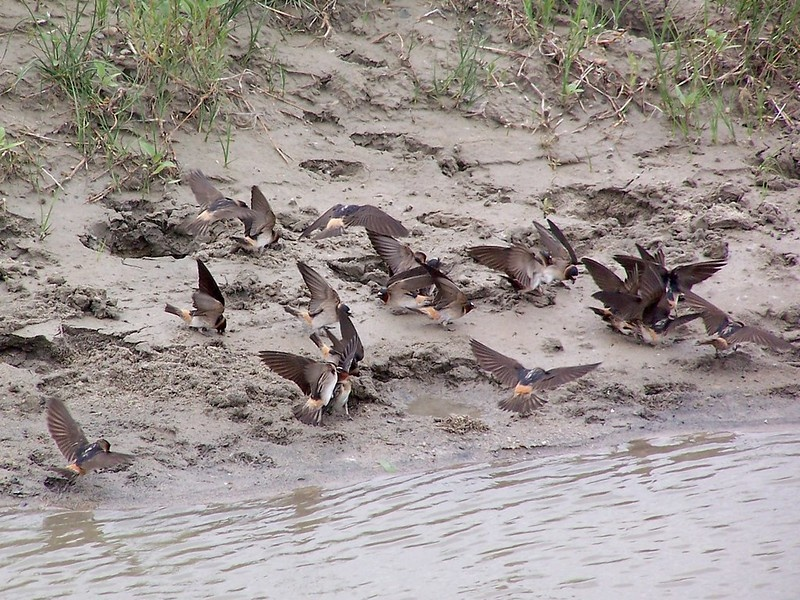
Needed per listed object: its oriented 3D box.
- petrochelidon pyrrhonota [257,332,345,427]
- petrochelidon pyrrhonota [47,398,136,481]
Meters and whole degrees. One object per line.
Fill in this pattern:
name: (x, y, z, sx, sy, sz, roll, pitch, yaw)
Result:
petrochelidon pyrrhonota: (-0.653, 0.591, 7.723, 0.295, 0.614, 0.753, 62, 15, 2)
petrochelidon pyrrhonota: (-2.215, 1.030, 7.173, 0.691, 0.528, 0.350, 22, 45, 15)
